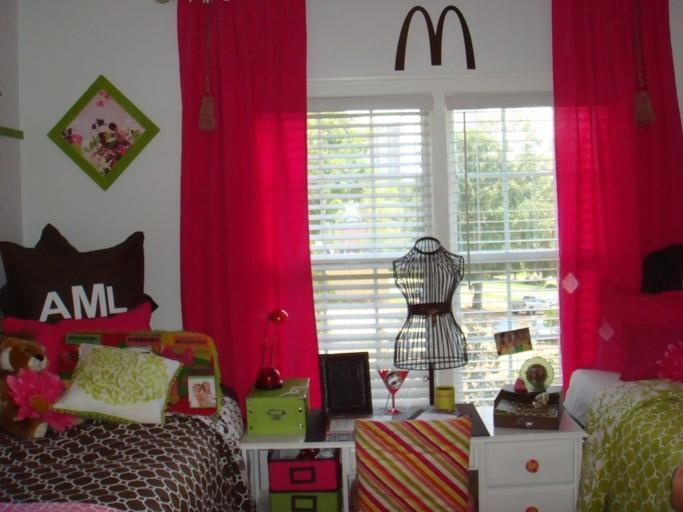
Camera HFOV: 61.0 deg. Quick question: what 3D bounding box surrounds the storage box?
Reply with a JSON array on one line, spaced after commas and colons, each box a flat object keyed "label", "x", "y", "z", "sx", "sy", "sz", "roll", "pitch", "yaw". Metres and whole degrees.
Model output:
[{"label": "storage box", "x": -0.299, "y": 0.709, "z": 2.772, "sx": 0.186, "sy": 0.142, "sz": 0.271, "roll": -1, "pitch": 1, "yaw": 1}]

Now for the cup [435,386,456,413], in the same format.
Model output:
[{"label": "cup", "x": 0.507, "y": 0.717, "z": 2.902, "sx": 0.098, "sy": 0.120, "sz": 0.104, "roll": 0, "pitch": -7, "yaw": 0}]

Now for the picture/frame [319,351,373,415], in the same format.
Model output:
[{"label": "picture/frame", "x": 0.019, "y": 0.631, "z": 2.857, "sx": 0.270, "sy": 0.369, "sz": 0.035, "roll": -2, "pitch": 7, "yaw": 0}]

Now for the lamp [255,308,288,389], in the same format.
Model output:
[{"label": "lamp", "x": -0.356, "y": 0.463, "z": 2.957, "sx": 0.168, "sy": 0.388, "sz": 0.318, "roll": -1, "pitch": -3, "yaw": -6}]
